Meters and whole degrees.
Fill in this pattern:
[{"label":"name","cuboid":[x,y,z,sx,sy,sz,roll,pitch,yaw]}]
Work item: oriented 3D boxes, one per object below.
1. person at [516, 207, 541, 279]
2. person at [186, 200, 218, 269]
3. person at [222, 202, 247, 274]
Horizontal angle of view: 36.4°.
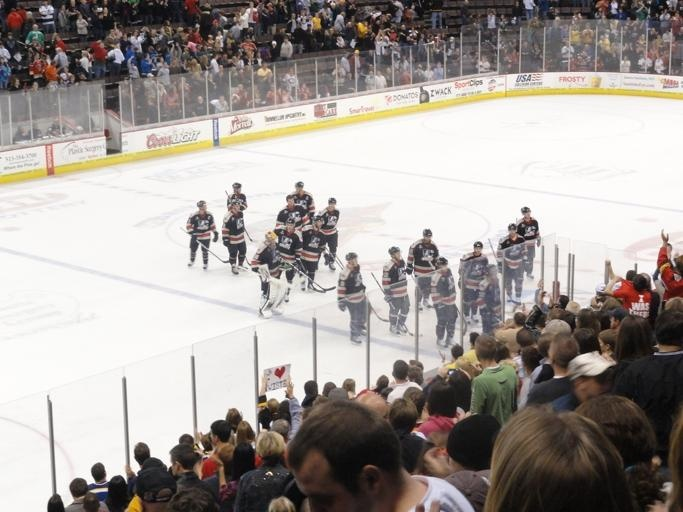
[{"label":"person","cuboid":[3.877,-0.282,21.758,0.644,1.489,0.329,-13,14,-34]},{"label":"person","cuboid":[-3.104,-0.532,23.193,0.689,1.497,0.632,-12,17,-38]},{"label":"person","cuboid":[-2.316,-0.418,22.776,0.494,1.558,0.546,-10,15,-42]}]
